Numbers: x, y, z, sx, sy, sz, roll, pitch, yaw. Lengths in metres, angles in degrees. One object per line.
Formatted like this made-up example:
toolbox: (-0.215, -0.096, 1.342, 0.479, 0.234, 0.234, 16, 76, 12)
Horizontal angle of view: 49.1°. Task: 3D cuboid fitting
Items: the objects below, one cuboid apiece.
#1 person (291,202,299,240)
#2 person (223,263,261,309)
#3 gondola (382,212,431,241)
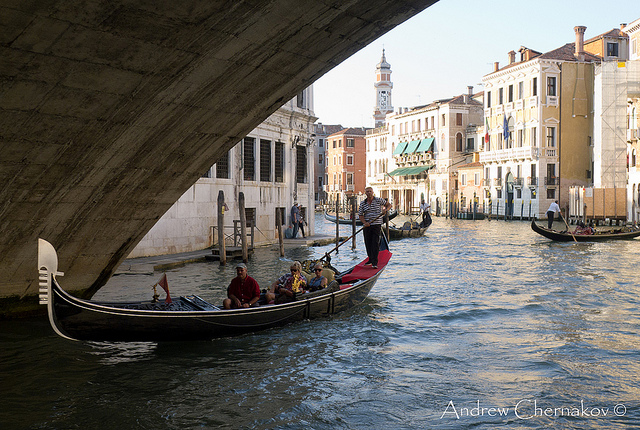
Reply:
person: (-1.087, 0.272, 30.770, 0.332, 1.521, 0.878, 0, 11, -3)
person: (-1.588, 1.493, 14.807, 0.994, 1.283, 0.828, 0, -7, 1)
gondola: (4.985, 0.705, 37.307, 1.023, 1.250, 4.460, 16, 16, 37)
